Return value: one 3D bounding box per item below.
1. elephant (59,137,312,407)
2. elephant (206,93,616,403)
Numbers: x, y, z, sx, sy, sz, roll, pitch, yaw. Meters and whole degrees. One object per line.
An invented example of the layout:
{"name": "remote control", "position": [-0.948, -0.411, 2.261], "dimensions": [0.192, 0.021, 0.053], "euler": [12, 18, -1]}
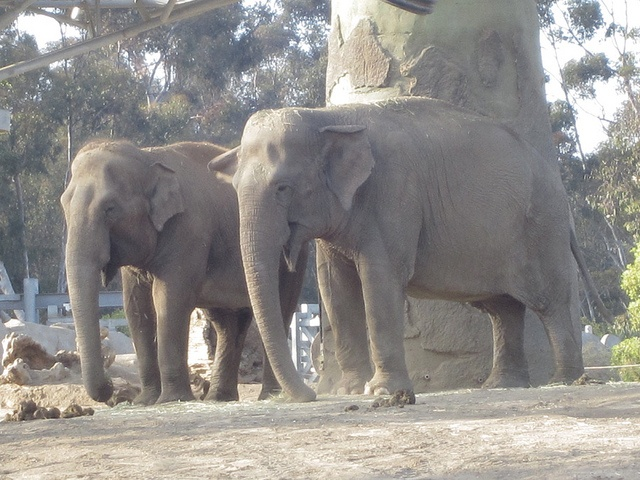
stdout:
{"name": "elephant", "position": [-1.217, 0.346, 9.788], "dimensions": [1.050, 2.337, 2.457], "euler": [-10, -12, 44]}
{"name": "elephant", "position": [0.938, 0.101, 8.825], "dimensions": [2.977, 2.501, 1.362], "euler": [0, -2, -10]}
